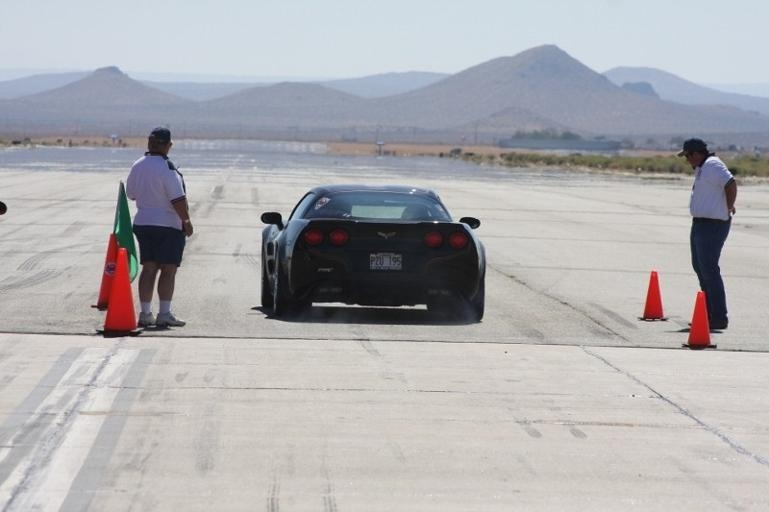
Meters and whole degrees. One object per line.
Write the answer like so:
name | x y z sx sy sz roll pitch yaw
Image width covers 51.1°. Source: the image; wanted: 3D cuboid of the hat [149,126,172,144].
hat | -2.656 -1.418 9.449 0.249 0.156 0.379 3 14 -1

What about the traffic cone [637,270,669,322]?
traffic cone | 3.755 0.580 11.246 0.444 0.732 0.436 -6 18 -11

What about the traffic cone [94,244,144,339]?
traffic cone | -2.939 0.403 8.828 0.395 0.885 0.714 -1 12 -19

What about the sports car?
sports car | -0.218 0.000 10.490 2.517 1.301 4.087 1 7 -7

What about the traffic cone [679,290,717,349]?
traffic cone | 3.580 0.719 9.029 0.326 0.587 0.419 7 12 21

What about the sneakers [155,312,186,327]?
sneakers | -2.487 0.721 9.169 0.375 0.177 0.137 1 5 -4

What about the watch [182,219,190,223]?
watch | -2.332 -0.408 9.379 0.055 0.037 0.053 1 0 -3
